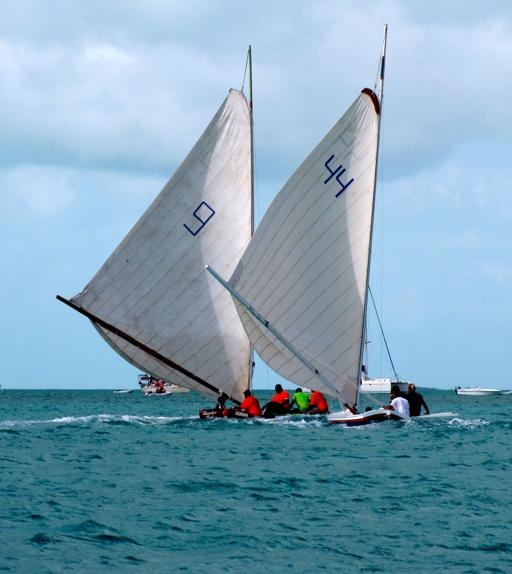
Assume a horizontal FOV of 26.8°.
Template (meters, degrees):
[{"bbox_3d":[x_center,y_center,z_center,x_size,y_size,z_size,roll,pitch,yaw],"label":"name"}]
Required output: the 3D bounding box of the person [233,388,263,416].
[{"bbox_3d":[-0.160,3.240,29.520,0.633,0.820,0.636,2,-4,-36],"label":"person"}]
